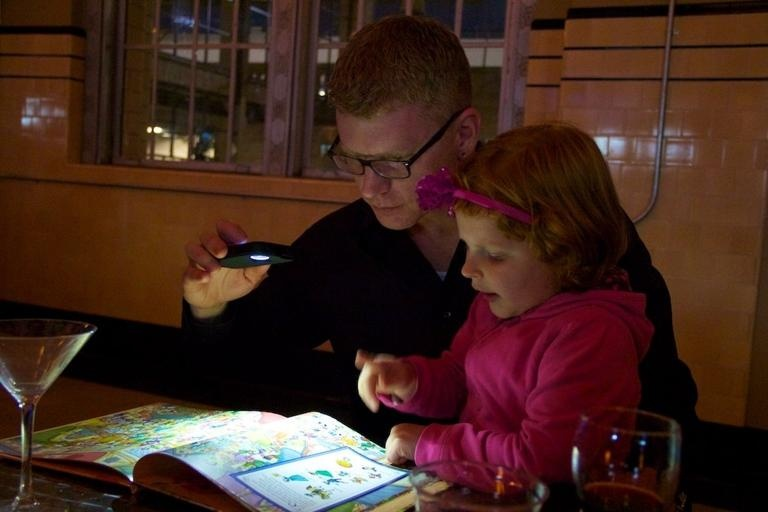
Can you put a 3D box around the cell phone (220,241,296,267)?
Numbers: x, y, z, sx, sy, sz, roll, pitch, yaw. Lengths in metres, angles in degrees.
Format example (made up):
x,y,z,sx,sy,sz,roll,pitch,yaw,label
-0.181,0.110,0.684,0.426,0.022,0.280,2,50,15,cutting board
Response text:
x,y,z,sx,sy,sz,roll,pitch,yaw,label
-0.369,-0.006,1.983,0.228,0.080,0.126,4,5,2,cell phone

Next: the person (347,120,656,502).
x,y,z,sx,sy,sz,roll,pitch,yaw,label
0.351,0.232,2.017,0.848,1.146,0.804,-2,8,-26,person
